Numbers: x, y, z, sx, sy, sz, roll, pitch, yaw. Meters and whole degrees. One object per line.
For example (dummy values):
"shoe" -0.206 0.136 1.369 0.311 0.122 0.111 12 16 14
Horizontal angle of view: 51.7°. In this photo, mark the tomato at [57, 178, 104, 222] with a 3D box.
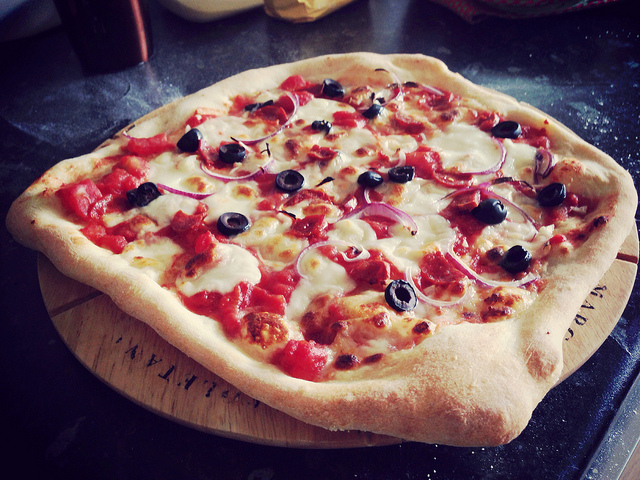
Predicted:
"tomato" -1.720 -0.307 4.747 0.291 0.109 0.287 -18 72 -11

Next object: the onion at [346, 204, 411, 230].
"onion" 0.439 -0.183 4.766 0.295 0.067 0.234 20 34 16

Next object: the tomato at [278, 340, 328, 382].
"tomato" -0.102 0.752 4.123 0.287 0.113 0.217 14 64 7

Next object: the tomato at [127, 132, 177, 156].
"tomato" -1.320 -0.746 5.213 0.314 0.106 0.170 -7 33 -17

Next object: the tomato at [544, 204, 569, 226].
"tomato" 1.725 -0.187 4.840 0.223 0.039 0.139 -11 64 -5

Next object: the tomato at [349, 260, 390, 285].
"tomato" 0.335 0.216 4.428 0.271 0.096 0.157 9 64 4

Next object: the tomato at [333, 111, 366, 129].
"tomato" 0.240 -0.994 5.443 0.173 0.055 0.178 7 27 10

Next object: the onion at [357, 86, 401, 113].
"onion" 0.499 -1.249 5.663 0.325 0.214 0.067 -35 86 -13

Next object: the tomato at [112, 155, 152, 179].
"tomato" -1.387 -0.562 4.963 0.211 0.066 0.195 29 46 20

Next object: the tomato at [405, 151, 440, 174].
"tomato" 0.783 -0.593 5.025 0.247 0.065 0.185 1 64 1

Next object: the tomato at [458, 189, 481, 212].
"tomato" 1.079 -0.282 4.796 0.151 0.045 0.165 -4 42 40

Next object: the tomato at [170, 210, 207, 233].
"tomato" -0.936 -0.138 4.705 0.228 0.067 0.197 11 64 5
